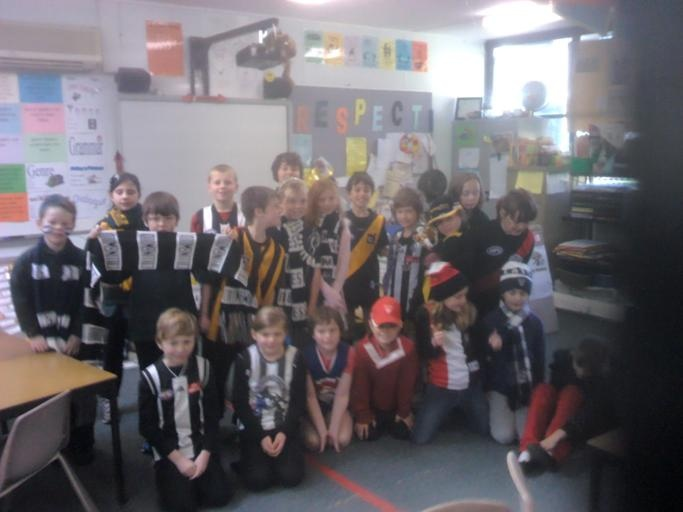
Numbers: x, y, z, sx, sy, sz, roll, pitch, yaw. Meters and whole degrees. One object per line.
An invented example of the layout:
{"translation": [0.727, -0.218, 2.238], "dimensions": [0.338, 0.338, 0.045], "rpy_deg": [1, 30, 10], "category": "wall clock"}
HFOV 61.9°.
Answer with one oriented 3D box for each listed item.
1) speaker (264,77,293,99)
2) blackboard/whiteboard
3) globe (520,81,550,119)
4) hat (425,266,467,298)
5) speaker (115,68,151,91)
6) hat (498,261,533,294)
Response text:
{"translation": [-0.390, -1.046, 3.537], "dimensions": [0.219, 0.151, 0.119], "rpy_deg": [-3, 22, -15], "category": "speaker"}
{"translation": [-0.771, -0.477, 3.050], "dimensions": [0.904, 0.875, 0.037], "rpy_deg": [-2, 4, -22], "category": "blackboard/whiteboard"}
{"translation": [0.879, -0.732, 2.649], "dimensions": [0.115, 0.159, 0.099], "rpy_deg": [0, 18, -5], "category": "globe"}
{"translation": [0.488, 0.105, 2.738], "dimensions": [0.175, 0.127, 0.126], "rpy_deg": [-21, 27, -10], "category": "hat"}
{"translation": [-1.131, -0.961, 3.109], "dimensions": [0.162, 0.127, 0.061], "rpy_deg": [-4, 14, -14], "category": "speaker"}
{"translation": [0.858, 0.088, 2.713], "dimensions": [0.147, 0.163, 0.160], "rpy_deg": [0, 14, 9], "category": "hat"}
